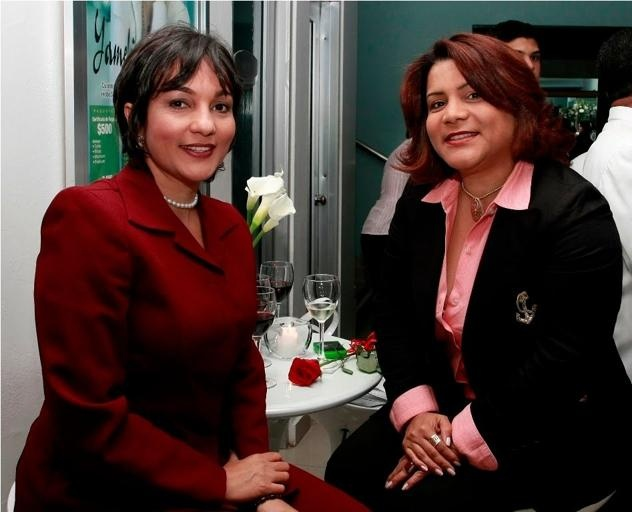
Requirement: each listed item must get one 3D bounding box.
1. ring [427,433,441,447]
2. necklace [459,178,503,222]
[{"bbox_3d":[0.327,0.504,1.456,0.020,0.033,0.029,-18,-43,44],"label":"ring"},{"bbox_3d":[0.490,-0.165,1.562,0.108,0.116,0.034,10,20,30],"label":"necklace"}]
